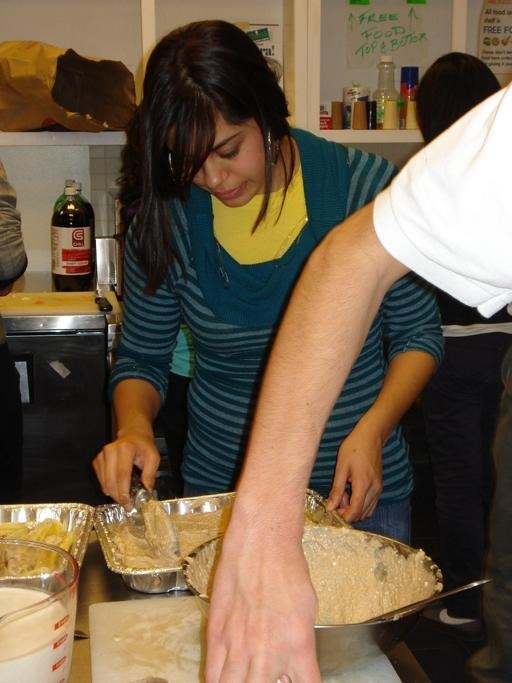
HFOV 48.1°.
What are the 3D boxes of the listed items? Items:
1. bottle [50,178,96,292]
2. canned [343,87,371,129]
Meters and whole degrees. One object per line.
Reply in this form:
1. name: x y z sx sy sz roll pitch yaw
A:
1. bottle: -0.744 -0.423 2.311 0.166 0.429 0.179 2 15 0
2. canned: 0.400 -0.923 2.282 0.100 0.164 0.102 6 8 17
